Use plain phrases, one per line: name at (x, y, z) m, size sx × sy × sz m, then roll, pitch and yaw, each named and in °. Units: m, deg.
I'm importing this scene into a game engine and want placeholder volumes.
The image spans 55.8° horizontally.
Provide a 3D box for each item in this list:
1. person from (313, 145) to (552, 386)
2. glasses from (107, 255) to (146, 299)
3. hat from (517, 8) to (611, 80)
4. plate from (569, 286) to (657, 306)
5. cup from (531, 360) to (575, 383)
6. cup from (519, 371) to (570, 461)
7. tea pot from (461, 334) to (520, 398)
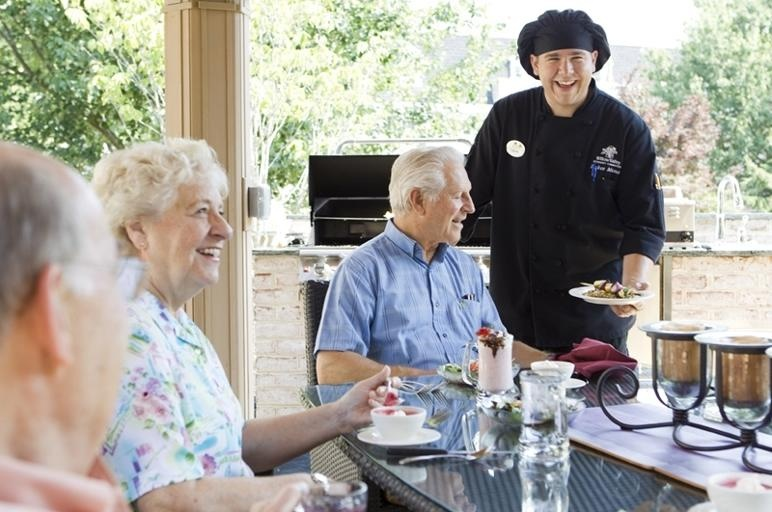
person at (0.028, 0.097, 2.468) m, size 0.668 × 0.761 × 1.010 m, roll -5°, pitch -6°, yaw 39°
glasses at (-0.256, 0.019, 0.717) m, size 0.039 × 0.034 × 0.037 m, roll -1°, pitch -6°, yaw -19°
hat at (0.682, -0.847, 2.816) m, size 0.328 × 0.158 × 0.348 m, roll 4°, pitch 6°, yaw 36°
plate at (0.740, 0.140, 2.457) m, size 0.249 × 0.074 × 0.436 m, roll -1°, pitch -1°, yaw -1°
cup at (0.386, 0.254, 1.673) m, size 0.119 × 0.053 × 0.115 m, roll 0°, pitch -2°, yaw 0°
cup at (0.275, 0.279, 1.282) m, size 0.084 × 0.156 × 0.111 m, roll -1°, pitch 0°, yaw 11°
tea pot at (0.267, 0.256, 1.711) m, size 0.165 × 0.147 × 0.103 m, roll -1°, pitch 2°, yaw 11°
